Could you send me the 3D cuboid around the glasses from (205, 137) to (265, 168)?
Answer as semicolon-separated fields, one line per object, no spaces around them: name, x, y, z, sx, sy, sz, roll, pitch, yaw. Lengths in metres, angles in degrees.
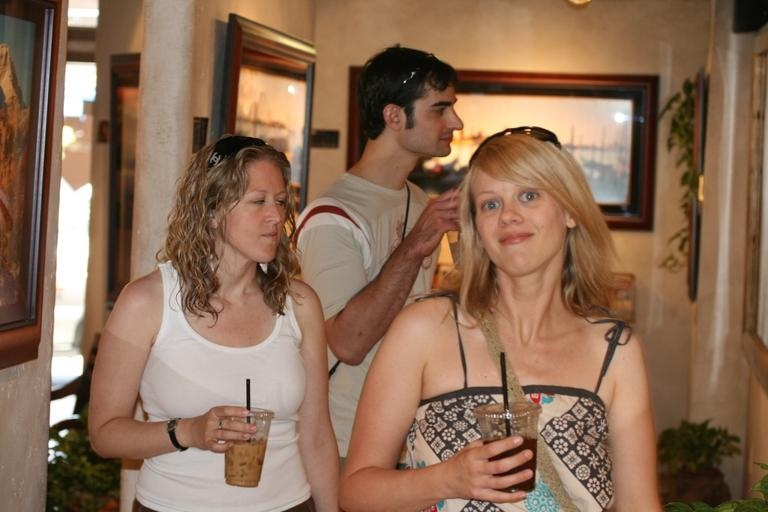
glasses;-0.589;-0.426;2.714;0.146;0.148;0.064;5;25;-23

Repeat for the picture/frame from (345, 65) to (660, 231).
picture/frame;1.158;-0.757;5.026;1.991;1.063;0.039;-5;6;-29

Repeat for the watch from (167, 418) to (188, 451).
watch;-0.746;0.639;2.472;0.067;0.111;0.107;1;-35;-22

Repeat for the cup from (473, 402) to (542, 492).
cup;0.354;0.619;2.282;0.259;0.281;0.260;-14;-16;-4

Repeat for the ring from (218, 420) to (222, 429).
ring;-0.566;0.587;2.417;0.017;0.030;0.010;6;7;0
